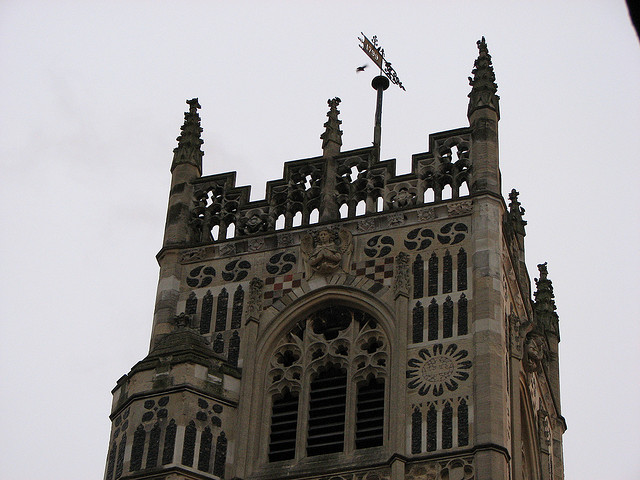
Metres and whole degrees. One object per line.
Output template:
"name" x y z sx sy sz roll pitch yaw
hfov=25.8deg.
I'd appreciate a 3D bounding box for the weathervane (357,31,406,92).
"weathervane" 1.920 -5.641 42.832 0.054 1.803 2.374 -27 -53 26
